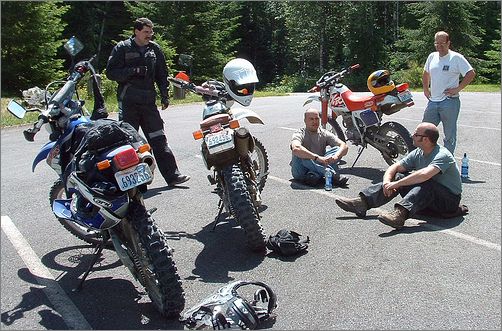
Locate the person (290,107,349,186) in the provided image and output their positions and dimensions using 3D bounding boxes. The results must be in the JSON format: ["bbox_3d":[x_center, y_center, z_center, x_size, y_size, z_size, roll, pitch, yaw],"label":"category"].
[{"bbox_3d":[1.265,-0.379,7.924,1.197,1.467,1.265,-2,6,-20],"label":"person"}]

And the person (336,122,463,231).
[{"bbox_3d":[2.526,0.112,6.203,2.199,1.447,1.068,-6,10,-19],"label":"person"}]

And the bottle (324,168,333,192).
[{"bbox_3d":[1.440,0.251,7.499,0.141,0.361,0.384,-3,20,13],"label":"bottle"}]

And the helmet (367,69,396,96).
[{"bbox_3d":[2.724,-1.810,8.568,0.566,0.480,0.444,1,23,38],"label":"helmet"}]
